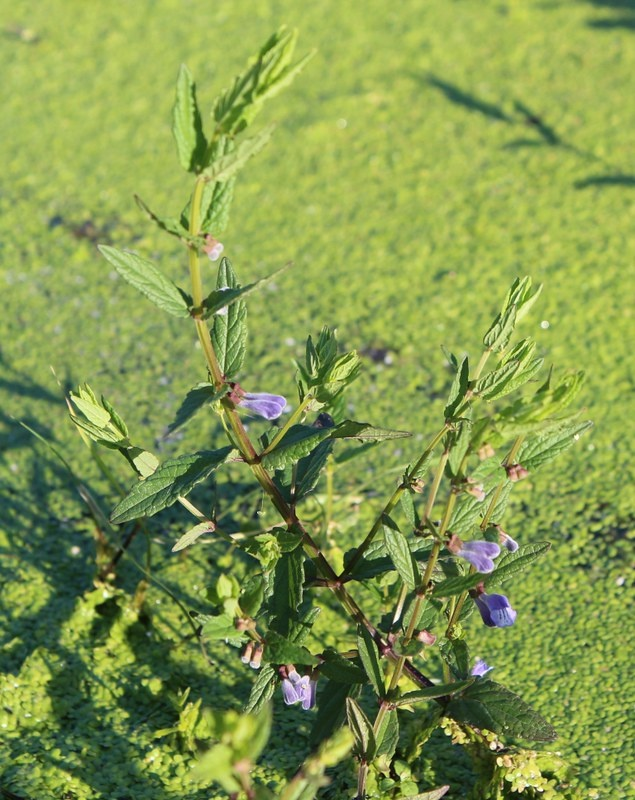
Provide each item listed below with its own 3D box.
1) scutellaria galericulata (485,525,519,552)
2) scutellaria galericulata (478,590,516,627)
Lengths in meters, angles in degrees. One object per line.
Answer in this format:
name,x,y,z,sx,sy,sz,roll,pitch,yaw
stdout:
scutellaria galericulata,0.413,0.312,2.128,0.070,0.024,0.058,38,95,-1
scutellaria galericulata,0.393,0.459,2.098,0.059,0.037,0.095,-47,45,6
